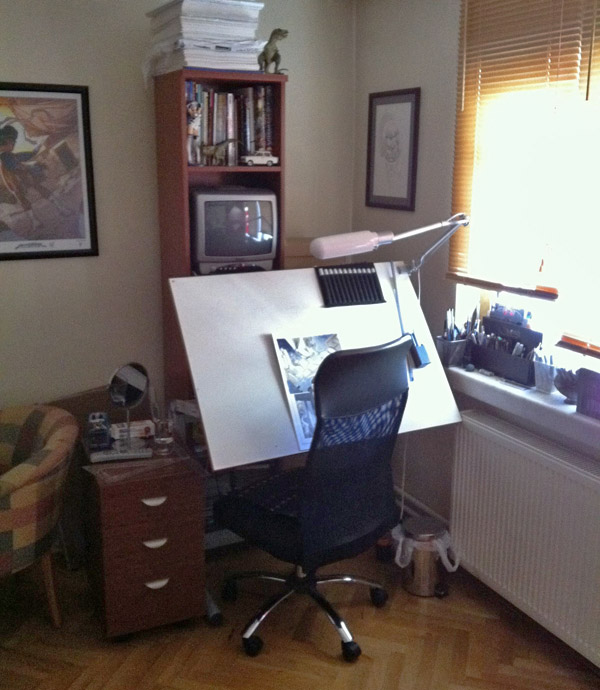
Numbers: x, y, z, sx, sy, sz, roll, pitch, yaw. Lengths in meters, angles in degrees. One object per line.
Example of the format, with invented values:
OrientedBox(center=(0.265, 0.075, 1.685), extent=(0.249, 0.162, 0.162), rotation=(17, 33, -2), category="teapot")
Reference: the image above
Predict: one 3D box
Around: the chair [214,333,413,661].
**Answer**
OrientedBox(center=(0.036, 0.438, 1.970), extent=(0.505, 1.080, 0.514), rotation=(-13, 22, -43), category="chair")

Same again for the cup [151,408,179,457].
OrientedBox(center=(-0.485, 0.326, 2.165), extent=(0.071, 0.151, 0.091), rotation=(0, 3, 22), category="cup")

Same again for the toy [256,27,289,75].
OrientedBox(center=(-0.108, -1.157, 2.349), extent=(0.119, 0.188, 0.083), rotation=(24, 37, 23), category="toy")

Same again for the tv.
OrientedBox(center=(-0.267, -0.458, 2.566), extent=(0.442, 0.491, 0.275), rotation=(-7, 14, -30), category="tv")

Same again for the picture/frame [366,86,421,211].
OrientedBox(center=(0.432, -0.910, 2.742), extent=(0.025, 0.717, 0.477), rotation=(-4, 12, -27), category="picture/frame")

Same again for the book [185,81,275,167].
OrientedBox(center=(-0.284, -0.887, 2.425), extent=(0.385, 0.324, 0.144), rotation=(-5, 11, -29), category="book")

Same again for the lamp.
OrientedBox(center=(0.315, -0.341, 2.042), extent=(0.538, 0.209, 0.087), rotation=(-9, 37, -11), category="lamp")

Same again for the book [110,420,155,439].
OrientedBox(center=(-0.591, 0.302, 2.142), extent=(0.098, 0.040, 0.073), rotation=(-3, 4, -17), category="book")
